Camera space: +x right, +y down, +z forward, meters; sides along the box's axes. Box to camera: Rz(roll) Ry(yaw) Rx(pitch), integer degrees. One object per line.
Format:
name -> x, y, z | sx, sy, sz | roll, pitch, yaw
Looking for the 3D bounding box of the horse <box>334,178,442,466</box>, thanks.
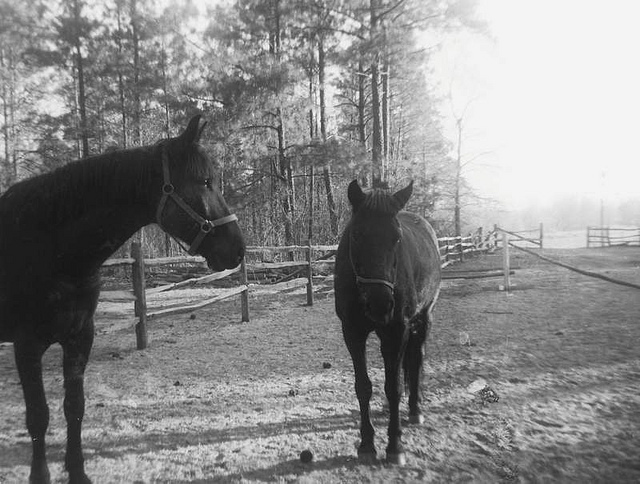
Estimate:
horse -> 0.855, 0.797, 6.957 | 0.969, 3.238, 1.951 | 4, 11, 25
